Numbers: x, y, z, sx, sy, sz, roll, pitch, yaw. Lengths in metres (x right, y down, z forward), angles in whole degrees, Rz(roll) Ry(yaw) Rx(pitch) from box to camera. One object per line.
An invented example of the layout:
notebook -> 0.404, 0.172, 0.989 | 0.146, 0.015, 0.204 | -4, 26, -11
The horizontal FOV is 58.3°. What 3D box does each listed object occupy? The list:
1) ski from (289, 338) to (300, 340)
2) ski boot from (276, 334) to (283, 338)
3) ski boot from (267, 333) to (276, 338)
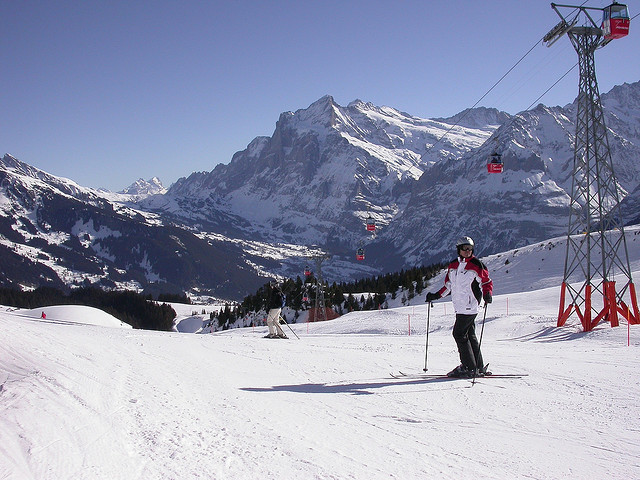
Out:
ski -> -1.183, 4.467, 25.908 | 0.287, 0.054, 0.064 | 4, -49, -7
ski boot -> -1.831, 4.323, 25.768 | 0.224, 0.144, 0.103 | 5, -28, -7
ski boot -> -2.175, 4.292, 25.626 | 0.354, 0.162, 0.604 | -2, -11, 3
